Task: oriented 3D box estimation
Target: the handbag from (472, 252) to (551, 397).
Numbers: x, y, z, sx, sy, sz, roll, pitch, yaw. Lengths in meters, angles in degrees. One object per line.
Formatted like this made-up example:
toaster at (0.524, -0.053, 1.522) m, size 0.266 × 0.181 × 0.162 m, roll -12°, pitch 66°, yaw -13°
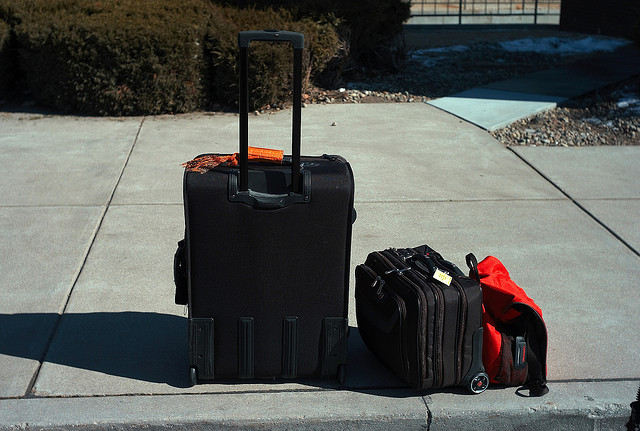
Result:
handbag at (1.462, 0.877, 4.987) m, size 0.546 × 0.923 × 0.848 m, roll -4°, pitch 12°, yaw 1°

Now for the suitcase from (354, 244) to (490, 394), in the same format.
suitcase at (0.758, 0.765, 5.178) m, size 0.807 × 0.910 × 1.186 m, roll -4°, pitch 15°, yaw -11°
